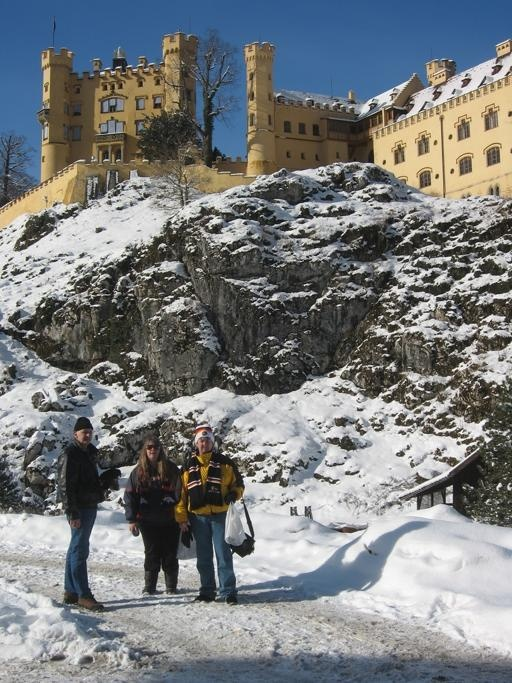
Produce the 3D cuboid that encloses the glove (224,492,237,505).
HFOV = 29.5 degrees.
[{"bbox_3d":[-0.282,1.735,10.651,0.091,0.141,0.035,13,-6,10],"label":"glove"}]

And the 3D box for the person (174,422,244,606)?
[{"bbox_3d":[-0.529,1.898,10.690,0.784,1.886,0.710,-1,-2,15],"label":"person"}]

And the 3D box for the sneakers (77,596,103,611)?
[{"bbox_3d":[-1.711,2.746,10.085,0.306,0.145,0.102,-7,-9,29],"label":"sneakers"}]

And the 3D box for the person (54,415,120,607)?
[{"bbox_3d":[-1.841,1.828,10.482,0.655,1.993,1.033,0,-2,-6],"label":"person"}]

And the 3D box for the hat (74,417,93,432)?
[{"bbox_3d":[-1.911,0.911,10.746,0.146,0.183,0.205,2,-18,-22],"label":"hat"}]

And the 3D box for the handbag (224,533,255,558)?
[{"bbox_3d":[-0.168,2.244,10.600,0.300,0.295,0.220,-31,-10,4],"label":"handbag"}]

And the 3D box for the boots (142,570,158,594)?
[{"bbox_3d":[-1.208,2.759,11.066,0.147,0.250,0.273,-1,-2,2],"label":"boots"}]

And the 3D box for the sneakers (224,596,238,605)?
[{"bbox_3d":[-0.258,2.748,10.277,0.128,0.083,0.316,-1,-2,-2],"label":"sneakers"}]
